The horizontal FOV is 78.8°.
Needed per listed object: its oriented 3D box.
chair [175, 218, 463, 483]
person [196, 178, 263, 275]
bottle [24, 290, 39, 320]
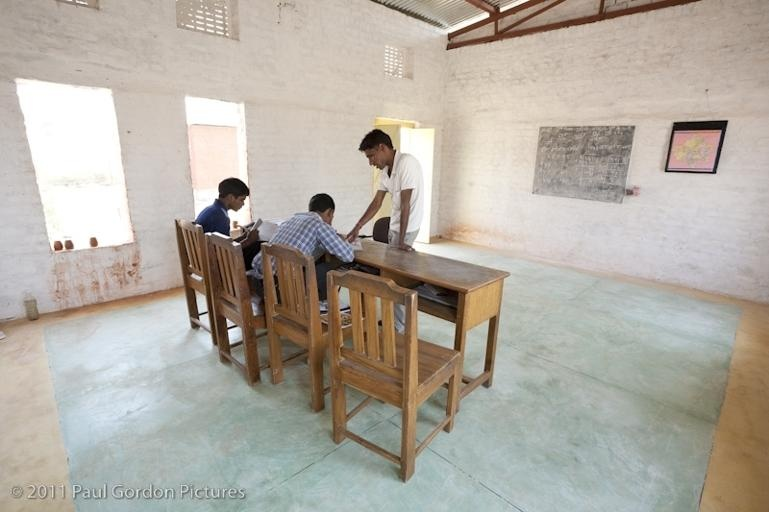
[{"bbox_3d":[-0.597,0.866,3.989,1.984,1.007,0.641,20,32,32],"label":"chair"},{"bbox_3d":[-1.644,-0.213,4.986,0.853,1.158,0.578,-1,13,-34],"label":"person"},{"bbox_3d":[-3.928,0.565,5.179,0.129,0.291,0.153,-12,20,-33],"label":"bottle"}]
